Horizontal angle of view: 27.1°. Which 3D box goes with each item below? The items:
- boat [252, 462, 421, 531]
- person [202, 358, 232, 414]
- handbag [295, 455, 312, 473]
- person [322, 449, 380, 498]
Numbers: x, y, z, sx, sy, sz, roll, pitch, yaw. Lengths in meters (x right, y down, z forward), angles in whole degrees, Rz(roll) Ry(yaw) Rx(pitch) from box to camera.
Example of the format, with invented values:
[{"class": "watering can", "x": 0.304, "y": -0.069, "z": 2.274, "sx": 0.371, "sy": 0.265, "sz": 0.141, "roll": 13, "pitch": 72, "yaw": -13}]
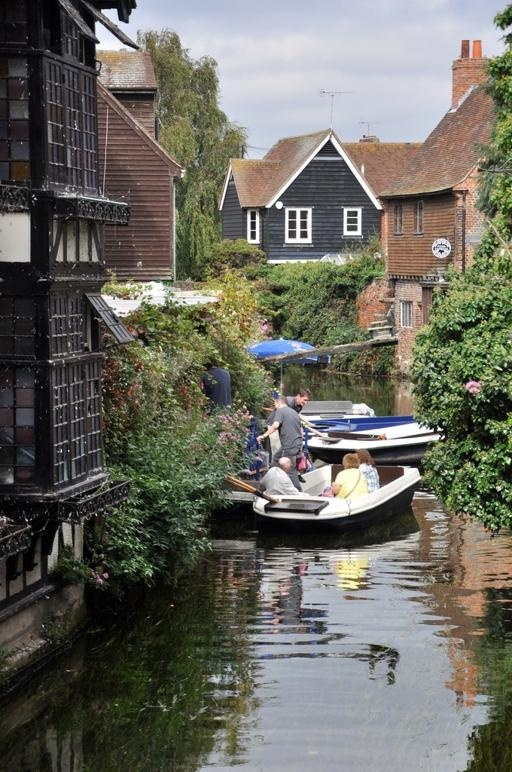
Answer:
[{"class": "boat", "x": 1.202, "y": 1.542, "z": 14.242, "sx": 1.238, "sy": 0.549, "sz": 3.258, "roll": 4, "pitch": 6, "yaw": 34}, {"class": "person", "x": -0.421, "y": -0.007, "z": 15.061, "sx": 0.275, "sy": 0.811, "sz": 0.289, "roll": -8, "pitch": 35, "yaw": 15}, {"class": "handbag", "x": 0.714, "y": 1.193, "z": 15.971, "sx": 0.270, "sy": 0.222, "sz": 0.389, "roll": 2, "pitch": -29, "yaw": 0}, {"class": "person", "x": 1.280, "y": 1.222, "z": 13.944, "sx": 0.507, "sy": 0.670, "sz": 1.098, "roll": -4, "pitch": -15, "yaw": -10}]
